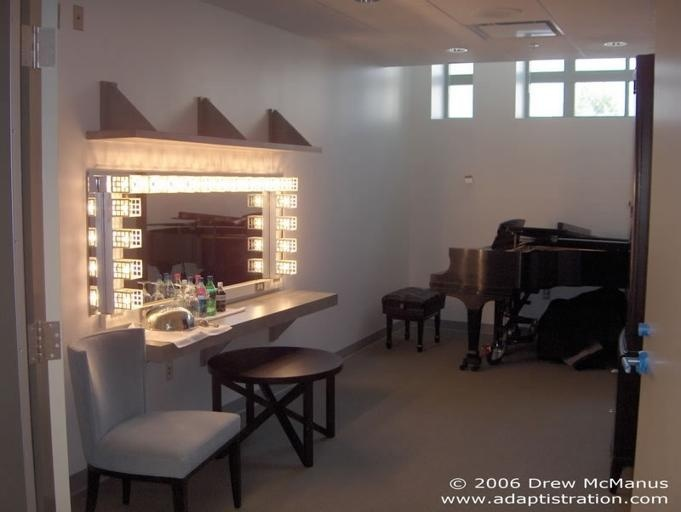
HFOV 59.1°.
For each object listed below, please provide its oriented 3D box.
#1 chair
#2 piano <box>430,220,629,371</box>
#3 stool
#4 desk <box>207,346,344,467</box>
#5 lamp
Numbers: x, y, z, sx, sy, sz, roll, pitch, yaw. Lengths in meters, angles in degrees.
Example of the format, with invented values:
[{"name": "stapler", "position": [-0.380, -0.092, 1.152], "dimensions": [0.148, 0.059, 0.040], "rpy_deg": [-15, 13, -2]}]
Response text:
[{"name": "chair", "position": [-1.010, 0.762, 3.612], "dimensions": [0.925, 1.302, 0.877], "rpy_deg": [1, 5, 13]}, {"name": "piano", "position": [1.839, 0.359, 6.143], "dimensions": [1.750, 1.519, 1.313], "rpy_deg": [1, 2, 11]}, {"name": "stool", "position": [0.850, 0.656, 6.651], "dimensions": [0.593, 0.755, 0.736], "rpy_deg": [1, 2, 31]}, {"name": "desk", "position": [-0.445, 0.897, 3.959], "dimensions": [0.743, 0.511, 0.773], "rpy_deg": [0, 7, -1]}, {"name": "lamp", "position": [-0.928, -0.109, 4.129], "dimensions": [0.266, 0.934, 1.724], "rpy_deg": [6, 10, 32]}]
